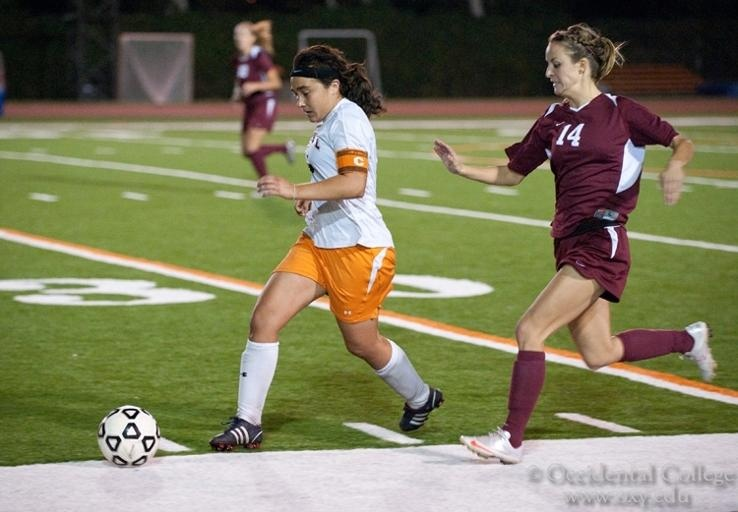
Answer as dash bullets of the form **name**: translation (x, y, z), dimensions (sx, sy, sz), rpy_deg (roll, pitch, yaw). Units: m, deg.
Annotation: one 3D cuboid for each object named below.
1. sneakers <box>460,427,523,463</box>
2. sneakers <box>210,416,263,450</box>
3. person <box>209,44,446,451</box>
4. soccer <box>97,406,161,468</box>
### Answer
- **sneakers**: translation (0.658, 1.013, 4.876), dimensions (0.410, 0.148, 0.134), rpy_deg (24, -19, -25)
- **sneakers**: translation (-0.736, 0.988, 5.082), dimensions (0.160, 0.155, 0.401), rpy_deg (10, -3, 34)
- **person**: translation (-0.231, -0.070, 5.284), dimensions (1.376, 2.299, 0.878), rpy_deg (-4, 16, -13)
- **soccer**: translation (-1.297, 0.981, 4.862), dimensions (0.341, 0.247, 0.310), rpy_deg (14, 11, 20)
